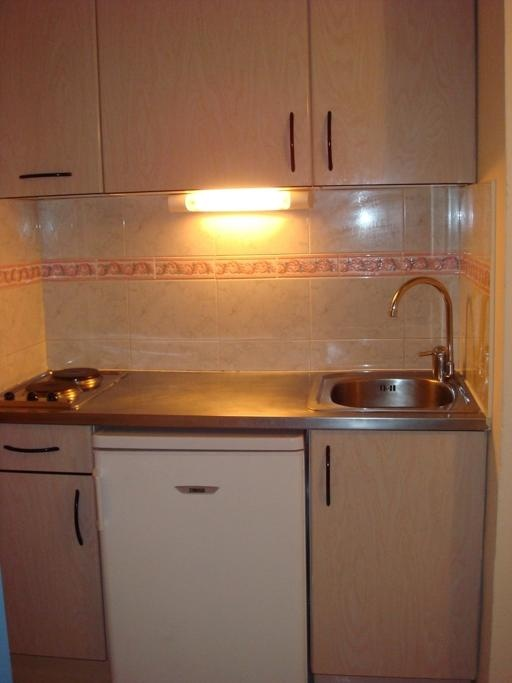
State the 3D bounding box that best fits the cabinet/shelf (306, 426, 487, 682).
[{"bbox_3d":[0.365,0.483,2.116,0.596,0.610,1.065,-1,-80,5],"label":"cabinet/shelf"}]
